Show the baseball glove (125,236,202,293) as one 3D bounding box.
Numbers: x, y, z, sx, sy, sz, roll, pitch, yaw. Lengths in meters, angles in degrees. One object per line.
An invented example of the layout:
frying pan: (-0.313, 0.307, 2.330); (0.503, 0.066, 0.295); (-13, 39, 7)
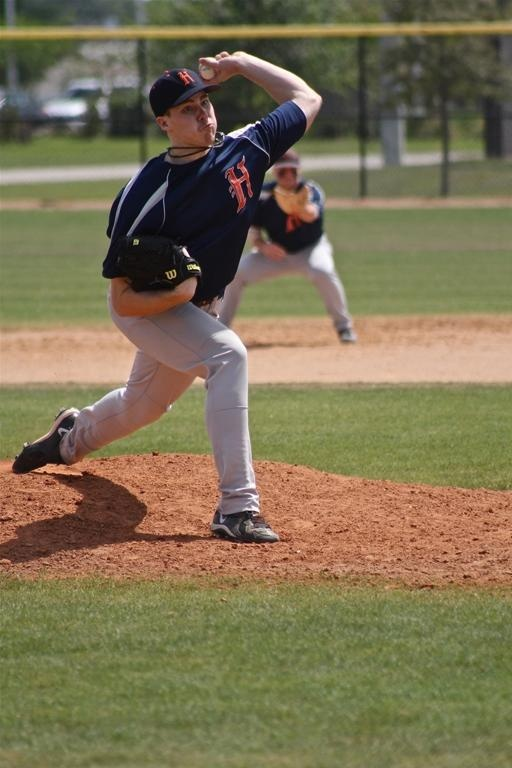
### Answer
baseball glove: (-0.320, -0.370, 3.619); (0.129, 0.144, 0.241); (37, -10, -18)

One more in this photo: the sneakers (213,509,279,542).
sneakers: (-0.047, 0.491, 3.890); (0.239, 0.092, 0.091); (2, 0, 28)

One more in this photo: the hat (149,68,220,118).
hat: (-0.263, -0.948, 3.771); (0.198, 0.109, 0.141); (-22, 15, 39)

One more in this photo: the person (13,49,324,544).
person: (-0.258, -0.304, 3.971); (0.915, 1.663, 0.740); (-2, 14, -3)

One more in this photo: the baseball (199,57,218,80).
baseball: (-0.167, -1.082, 3.988); (0.064, 0.071, 0.079); (-4, -20, -1)

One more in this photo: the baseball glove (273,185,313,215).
baseball glove: (0.241, -1.088, 6.872); (0.185, 0.214, 0.078); (2, -11, 29)
